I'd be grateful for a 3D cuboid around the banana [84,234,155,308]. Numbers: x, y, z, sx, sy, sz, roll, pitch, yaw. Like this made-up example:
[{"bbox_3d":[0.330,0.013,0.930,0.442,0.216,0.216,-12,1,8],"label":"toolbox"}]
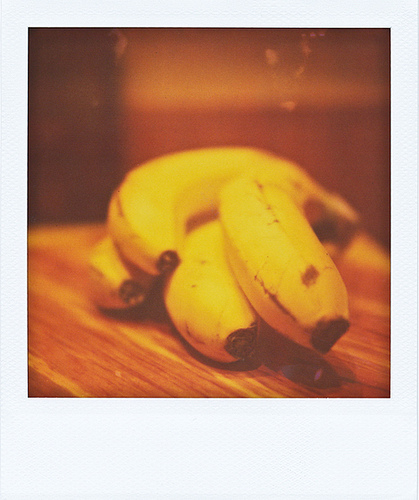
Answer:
[{"bbox_3d":[-0.260,0.066,1.538,0.214,0.184,0.079,-14,-7,-3],"label":"banana"}]
